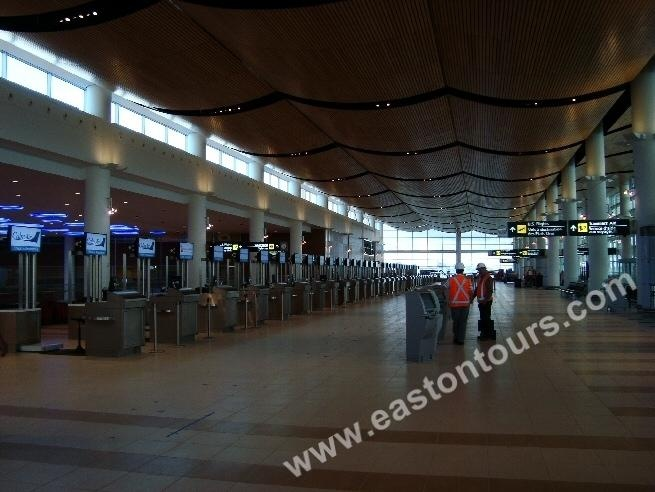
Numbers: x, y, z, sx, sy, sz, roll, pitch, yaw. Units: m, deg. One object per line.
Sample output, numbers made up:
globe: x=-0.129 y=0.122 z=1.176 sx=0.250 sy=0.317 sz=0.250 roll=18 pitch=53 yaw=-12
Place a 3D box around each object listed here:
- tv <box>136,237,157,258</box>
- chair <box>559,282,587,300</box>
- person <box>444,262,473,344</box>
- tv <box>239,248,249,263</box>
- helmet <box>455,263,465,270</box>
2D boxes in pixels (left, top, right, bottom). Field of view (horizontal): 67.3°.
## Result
tv: x=-4.938 y=0.060 z=13.294 sx=0.361 sy=0.576 sz=1.679 roll=-1 pitch=-6 yaw=-17
chair: x=13.751 y=2.503 z=27.269 sx=1.151 sy=0.868 sz=3.534 roll=-5 pitch=-6 yaw=26
person: x=3.182 y=1.399 z=11.691 sx=0.560 sy=1.892 sz=1.215 roll=-3 pitch=-5 yaw=17
tv: x=-3.106 y=0.360 z=17.888 sx=0.166 sy=0.465 sz=0.531 roll=-3 pitch=-7 yaw=17
helmet: x=3.304 y=0.540 z=12.238 sx=0.201 sy=0.225 sz=0.220 roll=0 pitch=-8 yaw=0
